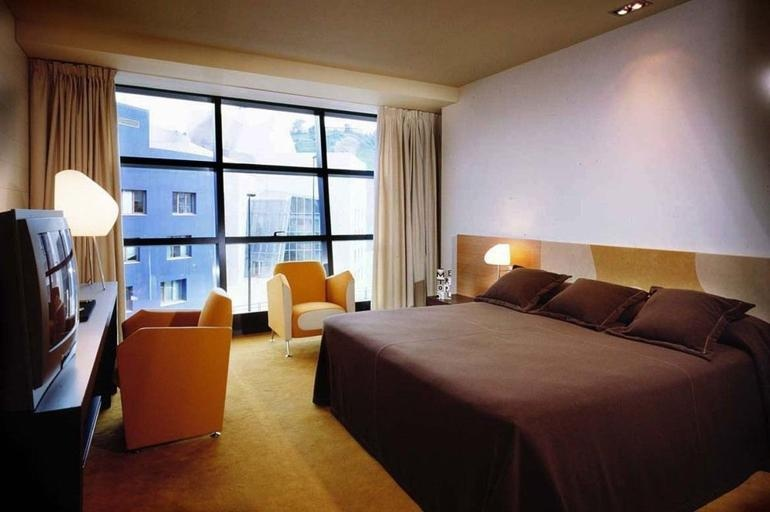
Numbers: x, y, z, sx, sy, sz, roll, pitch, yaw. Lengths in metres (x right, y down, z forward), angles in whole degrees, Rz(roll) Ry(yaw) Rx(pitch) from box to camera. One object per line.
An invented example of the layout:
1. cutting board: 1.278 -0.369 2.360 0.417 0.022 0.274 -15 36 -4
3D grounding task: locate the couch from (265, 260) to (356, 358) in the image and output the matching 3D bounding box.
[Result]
1. couch: -0.956 0.532 5.999 1.099 1.251 0.953 0 -3 -30

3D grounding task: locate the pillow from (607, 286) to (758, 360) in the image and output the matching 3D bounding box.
1. pillow: 2.334 0.491 4.061 0.776 0.208 0.699 -30 22 -29
